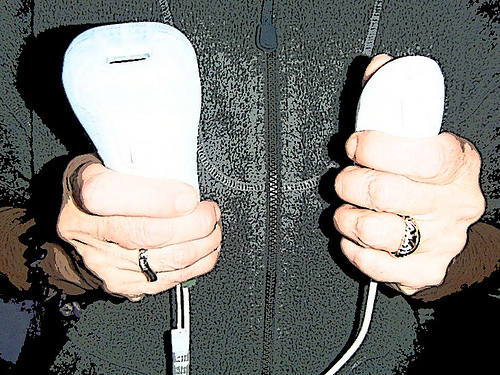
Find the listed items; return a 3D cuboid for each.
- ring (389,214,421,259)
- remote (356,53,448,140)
[{"bbox_3d":[0.222,0.068,0.703,0.044,0.019,0.052,-6,103,-16],"label":"ring"},{"bbox_3d":[0.214,-0.125,0.686,0.117,0.071,0.098,11,65,7],"label":"remote"}]
